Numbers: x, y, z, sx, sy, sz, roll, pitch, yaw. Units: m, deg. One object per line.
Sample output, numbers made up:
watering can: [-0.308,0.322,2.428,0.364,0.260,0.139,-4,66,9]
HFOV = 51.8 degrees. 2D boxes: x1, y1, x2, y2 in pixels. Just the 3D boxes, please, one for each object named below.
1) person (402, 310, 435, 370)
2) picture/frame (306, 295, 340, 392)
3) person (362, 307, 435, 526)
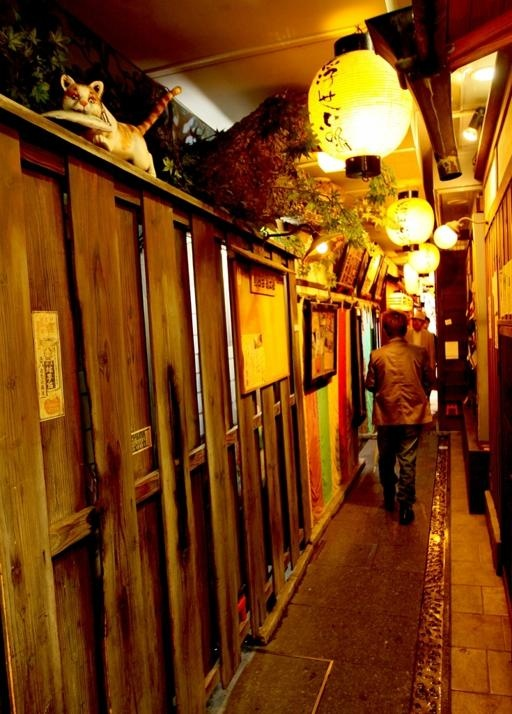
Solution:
person: [3.120,-0.045,10.087,0.499,1.689,0.418,-9,-33,28]
picture/frame: [0.866,-0.158,6.412,0.093,0.932,1.076,-1,1,23]
person: [1.656,0.648,6.118,0.708,2.354,0.722,-2,1,20]
